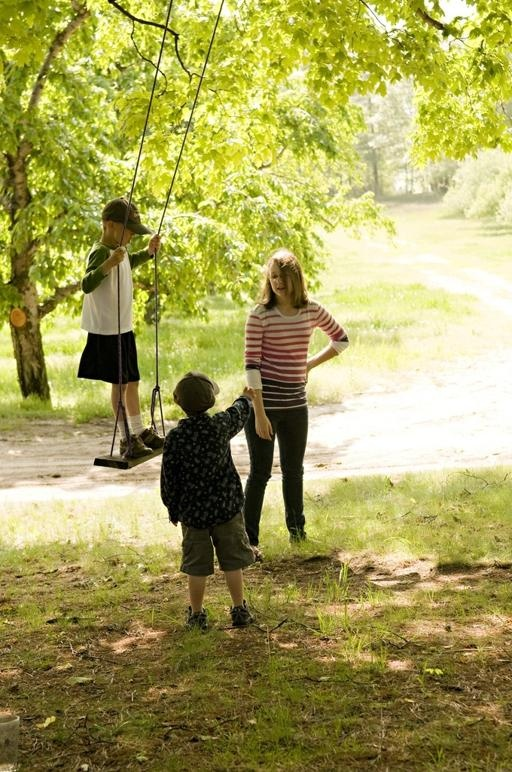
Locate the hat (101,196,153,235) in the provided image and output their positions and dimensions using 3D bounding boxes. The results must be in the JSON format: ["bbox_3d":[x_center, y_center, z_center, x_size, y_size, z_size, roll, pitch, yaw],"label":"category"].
[{"bbox_3d":[-0.838,-1.082,5.554,0.384,0.194,0.232,21,17,-7],"label":"hat"}]

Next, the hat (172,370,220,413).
[{"bbox_3d":[-0.287,0.039,4.220,0.205,0.213,0.204,-3,7,-2],"label":"hat"}]

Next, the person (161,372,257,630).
[{"bbox_3d":[-0.220,0.563,4.305,0.481,1.275,0.300,-5,8,-17],"label":"person"}]

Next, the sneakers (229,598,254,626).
[{"bbox_3d":[-0.076,1.142,4.369,0.064,0.070,0.165,-2,3,7],"label":"sneakers"}]

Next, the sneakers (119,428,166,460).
[{"bbox_3d":[-0.761,0.385,5.725,0.224,0.085,0.252,-3,3,22],"label":"sneakers"}]

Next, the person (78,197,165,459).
[{"bbox_3d":[-0.890,-0.386,5.732,0.599,1.685,0.958,-4,7,-6],"label":"person"}]

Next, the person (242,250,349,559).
[{"bbox_3d":[0.199,0.106,5.355,0.706,1.844,0.380,-9,9,-39],"label":"person"}]
